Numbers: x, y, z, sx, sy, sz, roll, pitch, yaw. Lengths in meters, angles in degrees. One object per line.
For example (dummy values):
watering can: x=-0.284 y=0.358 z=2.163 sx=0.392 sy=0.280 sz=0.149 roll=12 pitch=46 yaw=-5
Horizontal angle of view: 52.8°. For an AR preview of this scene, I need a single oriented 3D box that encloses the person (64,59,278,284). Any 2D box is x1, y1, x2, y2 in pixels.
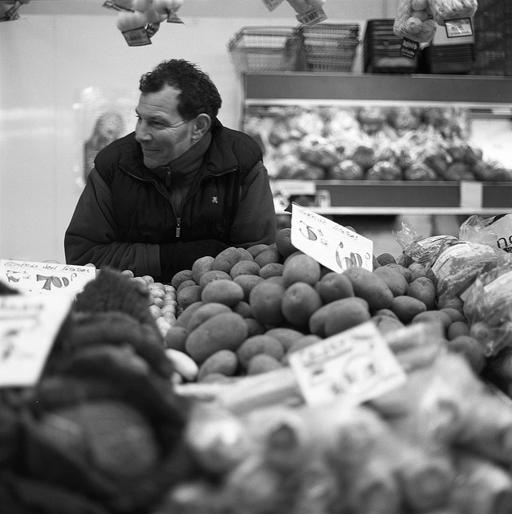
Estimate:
person: x=-0.335 y=-0.253 z=2.041 sx=0.718 sy=1.066 sz=0.579 roll=4 pitch=27 yaw=-6
